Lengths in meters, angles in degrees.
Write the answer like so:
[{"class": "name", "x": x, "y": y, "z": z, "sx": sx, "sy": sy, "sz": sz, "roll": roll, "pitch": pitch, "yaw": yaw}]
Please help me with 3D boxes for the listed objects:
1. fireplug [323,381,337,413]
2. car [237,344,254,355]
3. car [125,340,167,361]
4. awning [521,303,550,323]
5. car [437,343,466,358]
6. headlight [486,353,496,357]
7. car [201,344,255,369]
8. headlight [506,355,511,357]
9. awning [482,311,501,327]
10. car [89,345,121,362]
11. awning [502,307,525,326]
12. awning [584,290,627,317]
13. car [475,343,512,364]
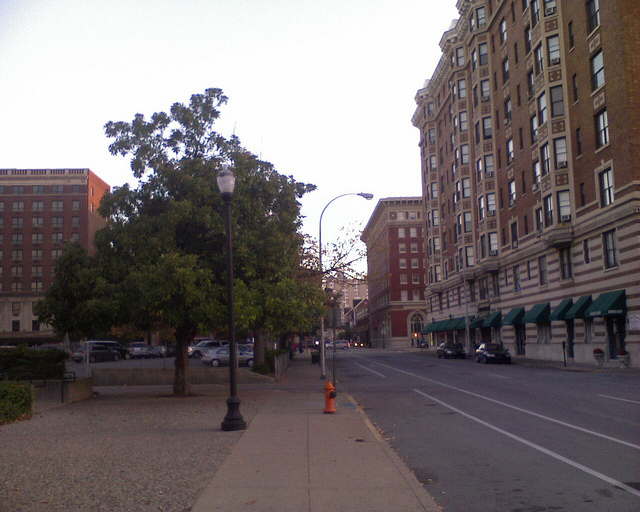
[{"class": "fireplug", "x": 0.279, "y": 4.385, "z": 22.325, "sx": 0.390, "sy": 0.935, "sz": 0.573, "roll": -1, "pitch": -9, "yaw": 0}, {"class": "car", "x": -5.499, "y": 6.912, "z": 52.967, "sx": 1.643, "sy": 0.934, "sz": 0.926, "roll": -11, "pitch": -9, "yaw": 39}, {"class": "car", "x": -16.808, "y": 9.146, "z": 68.819, "sx": 2.032, "sy": 1.814, "sz": 7.457, "roll": -2, "pitch": -12, "yaw": 7}, {"class": "awning", "x": 15.060, "y": 3.920, "z": 49.639, "sx": 1.164, "sy": 1.098, "sz": 1.934, "roll": -34, "pitch": -5, "yaw": -25}, {"class": "car", "x": 10.581, "y": 7.776, "z": 59.196, "sx": 0.935, "sy": 0.815, "sz": 2.239, "roll": 1, "pitch": -15, "yaw": -11}, {"class": "headlight", "x": 11.217, "y": 6.521, "z": 47.222, "sx": 0.184, "sy": 0.284, "sz": 0.646, "roll": 4, "pitch": -12, "yaw": -30}, {"class": "car", "x": -6.327, "y": 6.916, "z": 49.708, "sx": 3.415, "sy": 1.495, "sz": 2.231, "roll": -10, "pitch": -14, "yaw": 39}, {"class": "headlight", "x": 12.292, "y": 6.577, "z": 47.183, "sx": 0.426, "sy": 0.136, "sz": 0.056, "roll": 9, "pitch": -13, "yaw": -41}, {"class": "awning", "x": 14.491, "y": 5.339, "z": 60.171, "sx": 0.685, "sy": 1.201, "sz": 3.846, "roll": -1, "pitch": -11, "yaw": -2}, {"class": "car", "x": -18.537, "y": 8.316, "z": 61.971, "sx": 2.105, "sy": 0.848, "sz": 1.001, "roll": 0, "pitch": -3, "yaw": -35}, {"class": "awning", "x": 14.877, "y": 4.847, "z": 54.610, "sx": 1.104, "sy": 1.093, "sz": 1.812, "roll": -30, "pitch": -2, "yaw": -25}, {"class": "awning", "x": 15.836, "y": 2.676, "z": 39.733, "sx": 1.254, "sy": 1.542, "sz": 2.471, "roll": 0, "pitch": -11, "yaw": -3}, {"class": "car", "x": 11.387, "y": 6.497, "z": 48.129, "sx": 0.969, "sy": 0.836, "sz": 2.279, "roll": 1, "pitch": -13, "yaw": -9}]
